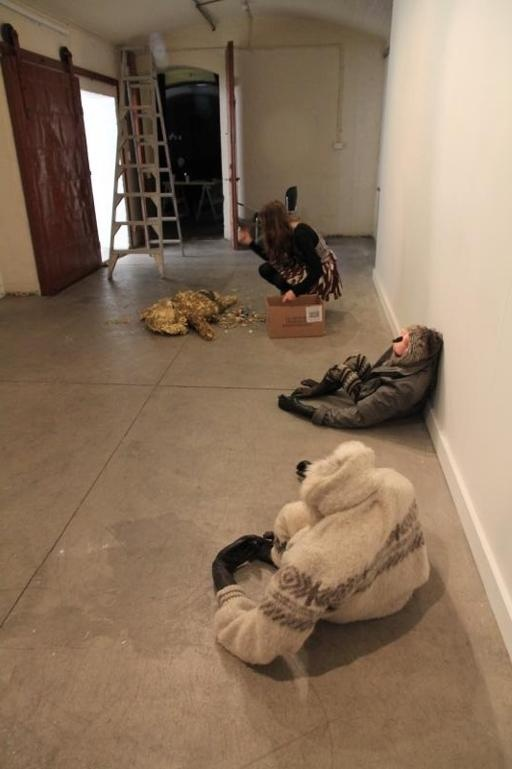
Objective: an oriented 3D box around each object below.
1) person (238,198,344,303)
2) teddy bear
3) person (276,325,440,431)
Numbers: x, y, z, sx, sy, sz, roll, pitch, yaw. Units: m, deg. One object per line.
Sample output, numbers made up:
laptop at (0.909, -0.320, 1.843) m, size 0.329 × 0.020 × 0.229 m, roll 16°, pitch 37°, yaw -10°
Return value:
person at (0.271, -1.155, 4.765) m, size 0.822 × 0.962 × 0.897 m, roll 3°, pitch 25°, yaw 15°
teddy bear at (-0.615, -0.637, 4.851) m, size 0.853 × 0.257 × 0.882 m, roll -9°, pitch 26°, yaw -11°
person at (0.649, -0.025, 3.113) m, size 0.723 × 0.524 × 0.557 m, roll 10°, pitch 43°, yaw 21°
